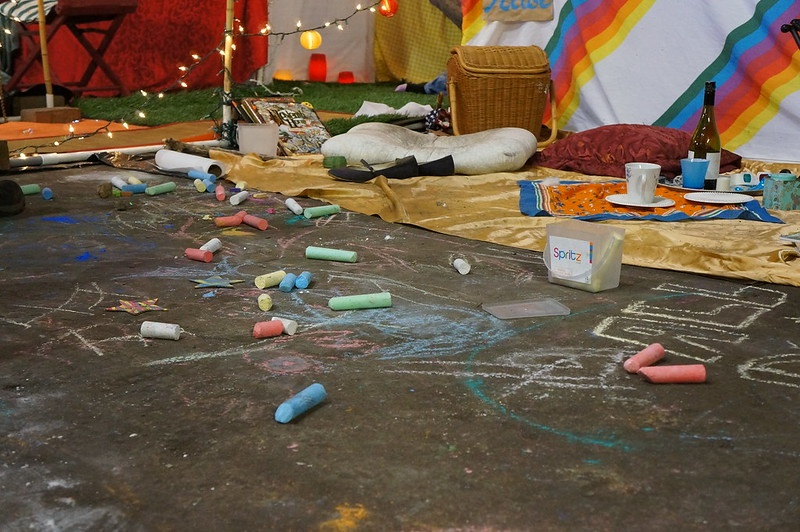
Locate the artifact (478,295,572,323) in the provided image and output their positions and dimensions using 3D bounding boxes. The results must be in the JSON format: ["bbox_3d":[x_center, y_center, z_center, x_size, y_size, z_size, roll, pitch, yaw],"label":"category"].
[{"bbox_3d":[0.411,0.141,1.928,0.262,0.027,0.140,-1,15,-13],"label":"artifact"}]

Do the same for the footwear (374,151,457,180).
[{"bbox_3d":[0.120,-0.596,3.526,0.553,0.100,0.155,0,7,-9],"label":"footwear"}]

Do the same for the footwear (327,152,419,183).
[{"bbox_3d":[-0.221,-0.574,3.515,0.648,0.114,0.186,-1,7,-6],"label":"footwear"}]
